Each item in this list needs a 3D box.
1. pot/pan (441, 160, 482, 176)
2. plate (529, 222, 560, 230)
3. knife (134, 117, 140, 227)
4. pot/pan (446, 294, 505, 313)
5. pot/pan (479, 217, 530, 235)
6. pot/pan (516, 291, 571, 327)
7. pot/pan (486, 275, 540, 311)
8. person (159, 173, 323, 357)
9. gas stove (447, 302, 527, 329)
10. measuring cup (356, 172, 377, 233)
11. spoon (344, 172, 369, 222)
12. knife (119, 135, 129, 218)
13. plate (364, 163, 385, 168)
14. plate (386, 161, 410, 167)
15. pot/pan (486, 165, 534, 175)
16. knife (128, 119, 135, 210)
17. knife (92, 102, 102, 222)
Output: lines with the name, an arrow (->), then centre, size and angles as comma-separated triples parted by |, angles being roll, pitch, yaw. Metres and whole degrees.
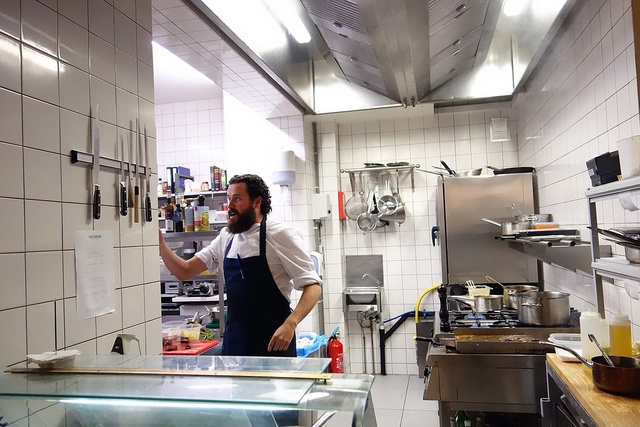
pot/pan -> 1.510, -0.474, 4.874 | 0.335, 0.179, 0.659 | 1, 3, 11
plate -> 1.648, 0.095, 3.299 | 0.163, 0.044, 0.404 | 2, 3, 23
knife -> -1.047, -0.250, 2.590 | 0.033, 0.607, 0.142 | -1, 3, -22
pot/pan -> 1.309, 0.732, 3.725 | 0.324, 0.107, 0.186 | -3, -4, 11
pot/pan -> 1.494, 0.110, 3.645 | 0.351, 0.126, 0.211 | -1, -3, 16
pot/pan -> 1.609, 0.680, 3.254 | 0.248, 0.147, 0.302 | -2, -1, 27
pot/pan -> 1.598, 0.668, 3.828 | 0.252, 0.173, 0.408 | 2, -5, -29
person -> -0.302, 0.332, 2.903 | 0.488, 1.172, 0.742 | -2, 4, -41
gas stove -> 1.282, 0.825, 3.524 | 0.517, 0.095, 0.654 | 1, 3, 15
measuring cup -> 0.551, -0.057, 5.221 | 0.257, 0.567, 0.189 | -1, -3, 19
spoon -> 0.434, -0.187, 5.294 | 0.259, 0.544, 0.112 | -7, -11, 28
knife -> -1.092, -0.205, 2.520 | 0.043, 0.437, 0.075 | 0, 3, -8
plate -> 0.622, -0.537, 5.097 | 0.216, 0.047, 0.109 | 1, 3, 7
plate -> 0.875, -0.548, 5.068 | 0.249, 0.061, 0.110 | 1, 3, 7
pot/pan -> 1.913, -0.423, 4.514 | 0.429, 0.072, 0.182 | 1, 3, 2
knife -> -1.074, -0.282, 2.577 | 0.039, 0.497, 0.088 | -1, 3, -23
knife -> -1.174, -0.266, 2.373 | 0.041, 0.598, 0.080 | -1, 3, -26
